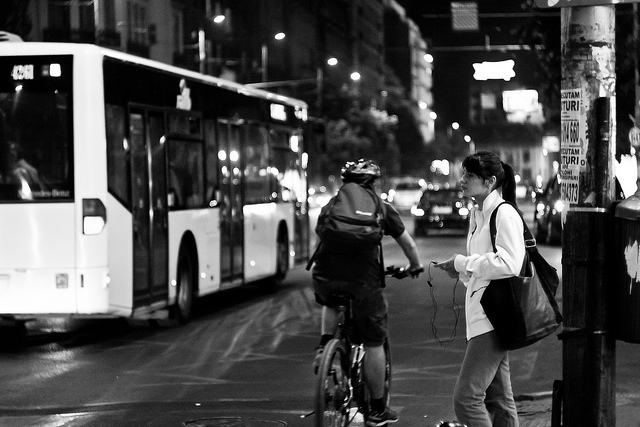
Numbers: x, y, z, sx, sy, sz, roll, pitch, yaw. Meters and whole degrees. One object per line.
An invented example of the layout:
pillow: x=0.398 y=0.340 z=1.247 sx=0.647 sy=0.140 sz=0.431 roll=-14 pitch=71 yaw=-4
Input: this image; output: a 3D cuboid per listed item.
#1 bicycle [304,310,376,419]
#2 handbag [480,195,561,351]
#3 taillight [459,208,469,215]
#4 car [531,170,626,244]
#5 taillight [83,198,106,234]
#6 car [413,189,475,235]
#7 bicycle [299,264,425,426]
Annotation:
bicycle: x=0.188 y=1.452 z=7.739 sx=0.588 sy=1.218 sz=1.389 roll=-1 pitch=4 yaw=-1
handbag: x=1.572 y=0.509 z=6.575 sx=0.621 sy=1.084 sz=0.267 roll=-2 pitch=4 yaw=-25
taillight: x=4.822 y=-0.126 z=29.352 sx=0.271 sy=0.105 sz=0.431 roll=-3 pitch=16 yaw=-1
car: x=6.356 y=-0.074 z=23.993 sx=1.916 sy=1.828 sz=3.594 roll=-1 pitch=3 yaw=1
taillight: x=-2.845 y=0.021 z=10.904 sx=0.239 sy=0.460 sz=0.272 roll=-7 pitch=7 yaw=-9
car: x=4.202 y=-0.061 z=30.285 sx=1.546 sy=1.180 sz=2.777 roll=0 pitch=6 yaw=2
bicycle: x=0.326 y=1.335 z=7.788 sx=0.785 sy=1.048 sz=1.584 roll=2 pitch=0 yaw=17
